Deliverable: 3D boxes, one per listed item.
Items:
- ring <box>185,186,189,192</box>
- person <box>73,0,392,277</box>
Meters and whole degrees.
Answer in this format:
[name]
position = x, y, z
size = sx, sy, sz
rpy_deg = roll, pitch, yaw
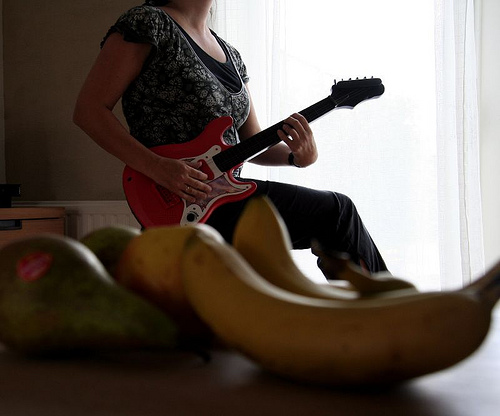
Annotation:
[ring]
position = -0.143, -0.046, 1.075
size = 0.005, 0.012, 0.002
rpy_deg = 18, 8, -44
[person]
position = 0.051, -0.249, 1.339
size = 0.136, 0.451, 1.035
rpy_deg = 5, -19, 48
